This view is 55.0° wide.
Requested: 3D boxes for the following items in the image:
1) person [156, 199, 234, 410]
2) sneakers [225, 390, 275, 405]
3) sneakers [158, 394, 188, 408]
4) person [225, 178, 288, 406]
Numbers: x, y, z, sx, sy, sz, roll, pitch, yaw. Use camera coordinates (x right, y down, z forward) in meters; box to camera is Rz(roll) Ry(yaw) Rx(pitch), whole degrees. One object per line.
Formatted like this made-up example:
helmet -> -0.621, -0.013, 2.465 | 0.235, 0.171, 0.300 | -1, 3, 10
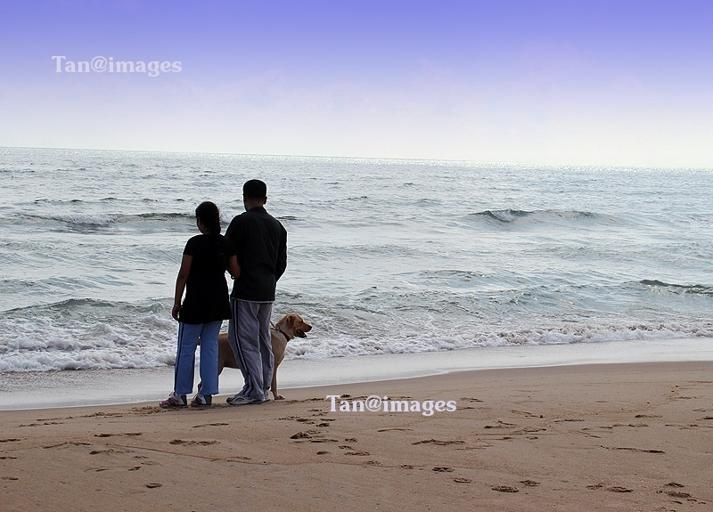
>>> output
person -> -1.647, 0.539, 7.241 | 0.585, 2.192, 0.494 | 0, 1, -10
sneakers -> -1.159, 1.575, 7.598 | 0.603, 0.166, 0.165 | 2, -3, -7
sneakers -> -2.003, 1.589, 7.464 | 0.403, 0.111, 0.120 | 1, 3, 7
person -> -1.116, 0.405, 7.433 | 0.662, 2.440, 0.381 | -1, 1, -21
